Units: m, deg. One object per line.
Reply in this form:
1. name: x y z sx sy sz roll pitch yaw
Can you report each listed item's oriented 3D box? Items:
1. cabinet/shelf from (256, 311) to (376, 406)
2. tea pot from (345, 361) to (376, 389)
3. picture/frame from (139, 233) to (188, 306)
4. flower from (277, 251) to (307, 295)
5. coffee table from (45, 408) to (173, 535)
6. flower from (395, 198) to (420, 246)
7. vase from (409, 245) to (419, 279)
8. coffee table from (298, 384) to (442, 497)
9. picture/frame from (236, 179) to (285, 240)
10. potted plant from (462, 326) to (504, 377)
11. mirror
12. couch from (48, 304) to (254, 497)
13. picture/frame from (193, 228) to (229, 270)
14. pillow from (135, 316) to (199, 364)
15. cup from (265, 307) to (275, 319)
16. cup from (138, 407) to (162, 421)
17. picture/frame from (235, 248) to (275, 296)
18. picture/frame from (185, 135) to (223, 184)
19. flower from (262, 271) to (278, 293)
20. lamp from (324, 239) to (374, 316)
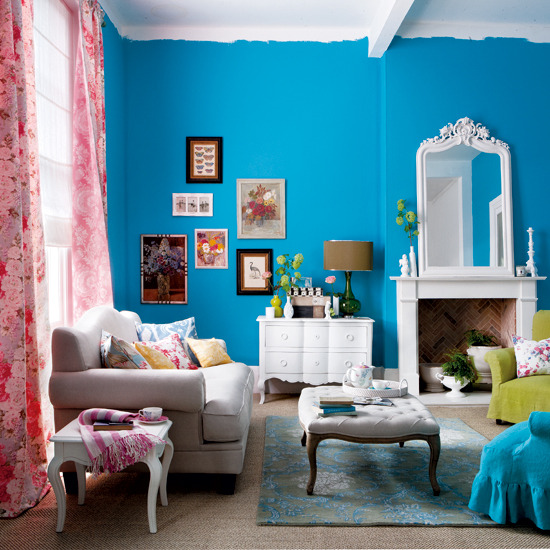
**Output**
1. cabinet/shelf: 0.378 0.747 4.953 1.069 0.728 0.406 0 6 -3
2. tea pot: 0.545 0.621 3.341 0.195 0.185 0.125 3 0 -37
3. picture/frame: -1.069 -0.055 5.175 0.430 0.660 0.064 0 1 -8
4. flower: 0.135 -0.028 5.104 0.288 0.382 0.254 0 1 3
5. coffee table: -0.739 0.860 2.501 0.510 0.408 0.500 0 -5 1
6. flower: 1.256 -0.517 5.037 0.214 0.433 0.113 0 1 3
7. vase: 1.308 -0.136 5.015 0.075 0.298 0.177 0 1 14
8. coffee table: 0.536 0.896 3.021 0.789 0.455 0.653 0 1 1
9. picture/frame: -0.138 -0.652 5.190 0.605 0.691 0.046 0 3 -1
10. potted plant: 1.952 0.690 5.090 0.478 0.510 0.488 0 -1 14
11. mirror: 1.798 -0.744 5.059 0.902 1.485 0.107 0 1 -2
12. couch: -0.680 0.679 3.451 1.194 0.834 1.523 2 0 -10
13. picture/frame: -0.629 -0.258 5.182 0.423 0.472 0.031 0 -1 -3
14. pillow: -0.713 0.458 3.711 0.104 0.333 0.355 -27 -25 36
15. cup: -0.029 0.355 4.891 0.074 0.092 0.094 3 2 9
16. cup: -0.588 0.664 2.602 0.067 0.036 0.080 0 0 11
17. picture/frame: -0.197 -0.038 5.188 0.483 0.562 0.059 0 -2 -1
18. picture/frame: -0.694 -1.117 5.178 0.476 0.547 0.042 0 3 0
19. flower: -0.045 0.073 5.140 0.127 0.220 0.153 0 1 -12
20. lamp: 0.685 0.023 4.994 0.457 0.732 0.418 0 1 9
